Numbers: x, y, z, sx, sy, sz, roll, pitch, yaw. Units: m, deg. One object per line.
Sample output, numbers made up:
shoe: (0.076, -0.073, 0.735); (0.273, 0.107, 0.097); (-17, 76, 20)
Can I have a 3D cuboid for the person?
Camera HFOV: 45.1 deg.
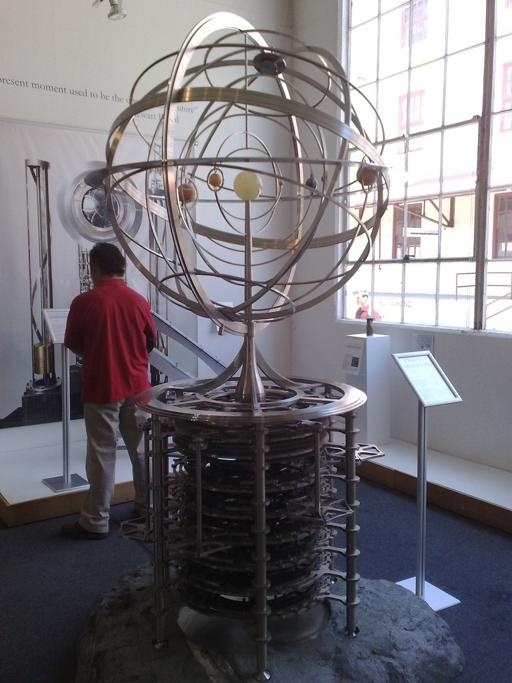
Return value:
person: (-0.725, 0.244, 3.030); (0.436, 0.976, 0.307); (2, -2, -23)
